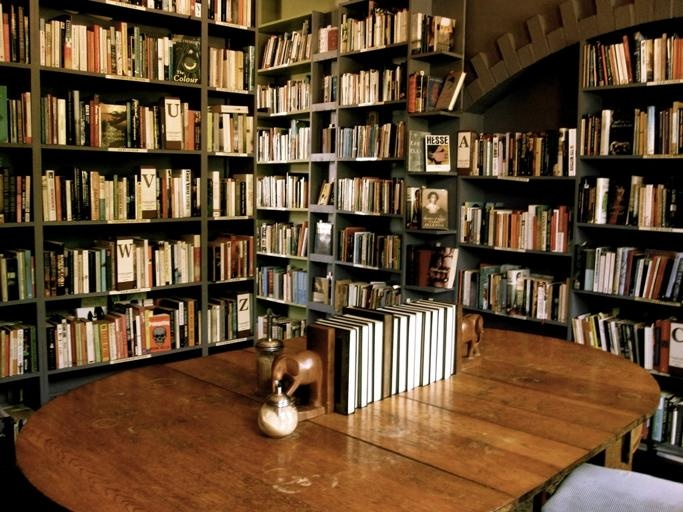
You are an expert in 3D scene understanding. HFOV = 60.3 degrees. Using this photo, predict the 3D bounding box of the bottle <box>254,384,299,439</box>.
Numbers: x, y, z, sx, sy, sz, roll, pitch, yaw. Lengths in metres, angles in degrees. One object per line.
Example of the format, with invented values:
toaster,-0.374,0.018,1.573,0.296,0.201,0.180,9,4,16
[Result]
bottle,-0.209,0.518,1.967,0.125,0.148,0.149,1,15,-1
